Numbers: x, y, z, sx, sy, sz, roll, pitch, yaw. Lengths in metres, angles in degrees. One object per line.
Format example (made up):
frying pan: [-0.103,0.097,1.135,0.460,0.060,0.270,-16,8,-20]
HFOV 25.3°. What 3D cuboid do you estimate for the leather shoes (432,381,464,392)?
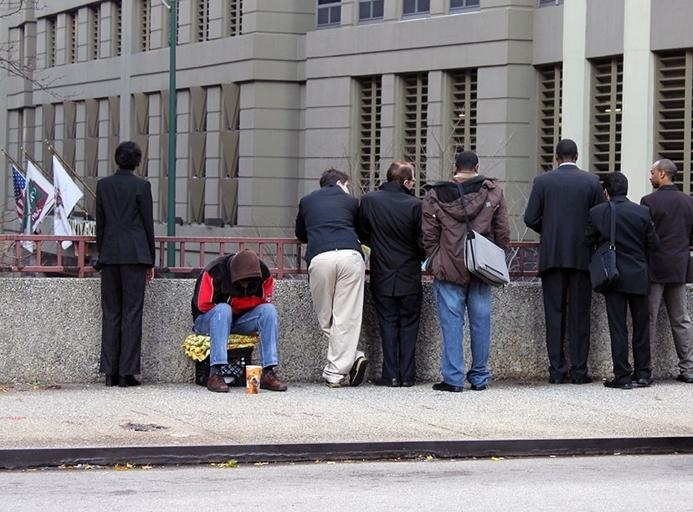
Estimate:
leather shoes: [1.206,1.605,18.692,0.364,0.164,0.135,6,0,33]

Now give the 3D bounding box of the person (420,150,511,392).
person: [1.442,0.202,18.674,1.018,2.960,0.531,-2,-3,3]

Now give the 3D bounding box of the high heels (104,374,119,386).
high heels: [-2.819,1.556,18.643,0.169,0.164,0.135,1,3,-11]

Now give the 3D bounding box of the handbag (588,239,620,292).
handbag: [3.133,0.137,18.754,0.220,0.481,0.430,12,-35,-13]

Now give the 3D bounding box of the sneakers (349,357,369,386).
sneakers: [0.154,1.448,18.864,0.160,0.438,0.185,-5,36,-30]

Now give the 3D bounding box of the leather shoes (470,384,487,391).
leather shoes: [1.601,1.657,18.802,0.112,0.069,0.085,2,-1,9]

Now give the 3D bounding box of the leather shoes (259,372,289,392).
leather shoes: [-0.825,1.568,18.534,0.420,0.205,0.157,-2,-4,42]

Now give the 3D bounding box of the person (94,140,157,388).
person: [-2.643,0.318,18.595,0.679,2.599,0.308,-1,-3,-10]

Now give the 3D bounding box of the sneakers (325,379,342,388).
sneakers: [-0.162,1.612,18.795,0.074,0.079,0.170,3,-8,-27]

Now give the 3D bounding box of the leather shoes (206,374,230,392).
leather shoes: [-1.553,1.572,18.463,0.334,0.224,0.157,-4,-4,35]

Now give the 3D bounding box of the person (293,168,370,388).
person: [-0.166,0.321,18.840,0.766,2.653,0.525,-2,-3,1]

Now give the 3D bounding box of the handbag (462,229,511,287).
handbag: [1.640,0.046,18.484,0.561,0.414,0.198,29,-31,-35]

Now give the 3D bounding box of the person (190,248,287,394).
person: [-1.286,0.828,18.474,1.089,1.709,0.697,-1,-3,-6]

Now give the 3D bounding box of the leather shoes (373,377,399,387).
leather shoes: [0.496,1.599,18.971,0.301,0.149,0.120,5,2,37]

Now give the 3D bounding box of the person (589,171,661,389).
person: [3.382,0.329,18.964,0.846,2.695,0.597,-2,-3,-2]

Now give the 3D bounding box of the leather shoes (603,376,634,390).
leather shoes: [3.316,1.616,18.954,0.387,0.165,0.146,3,0,36]

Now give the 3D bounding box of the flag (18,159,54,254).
flag: [-5.985,-1.156,30.127,0.530,1.473,1.416,-1,-3,-16]

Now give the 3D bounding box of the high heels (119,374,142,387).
high heels: [-2.567,1.554,18.659,0.281,0.190,0.101,-5,9,-43]
